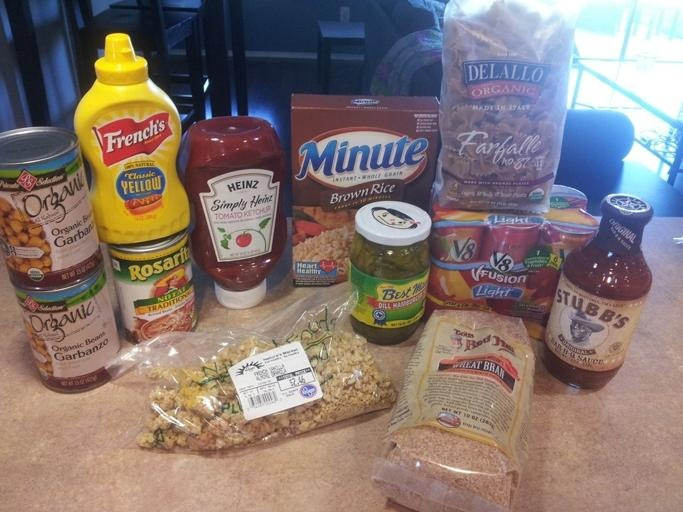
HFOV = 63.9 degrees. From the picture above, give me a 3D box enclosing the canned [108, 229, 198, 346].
[{"bbox_3d":[-0.314,0.052,0.904,0.124,0.180,0.126,16,34,24],"label":"canned"}]
